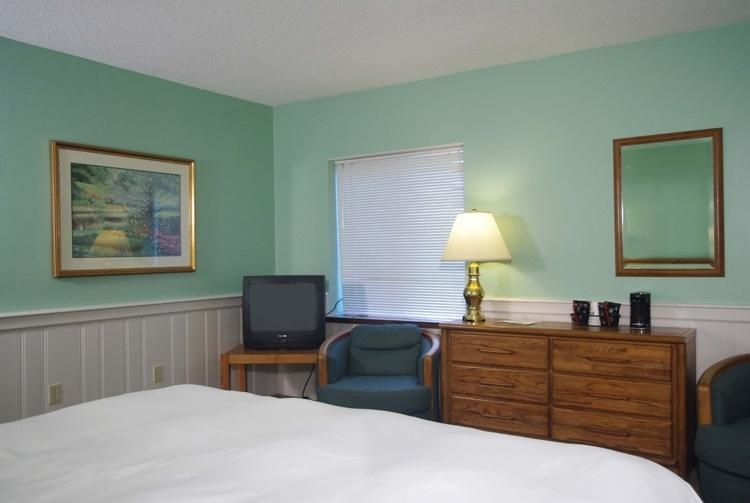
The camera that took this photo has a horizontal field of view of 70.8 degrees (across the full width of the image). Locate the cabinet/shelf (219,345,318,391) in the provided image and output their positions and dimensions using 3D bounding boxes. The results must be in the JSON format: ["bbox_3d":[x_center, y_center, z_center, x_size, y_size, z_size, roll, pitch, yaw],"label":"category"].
[{"bbox_3d":[-1.067,1.006,4.987,0.892,0.516,0.461,0,0,-7],"label":"cabinet/shelf"}]

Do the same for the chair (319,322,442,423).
[{"bbox_3d":[0.082,1.016,4.701,0.964,0.812,0.866,-1,-12,13],"label":"chair"}]

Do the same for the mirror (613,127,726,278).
[{"bbox_3d":[2.314,-0.376,4.189,0.856,1.160,0.303,5,16,21],"label":"mirror"}]
